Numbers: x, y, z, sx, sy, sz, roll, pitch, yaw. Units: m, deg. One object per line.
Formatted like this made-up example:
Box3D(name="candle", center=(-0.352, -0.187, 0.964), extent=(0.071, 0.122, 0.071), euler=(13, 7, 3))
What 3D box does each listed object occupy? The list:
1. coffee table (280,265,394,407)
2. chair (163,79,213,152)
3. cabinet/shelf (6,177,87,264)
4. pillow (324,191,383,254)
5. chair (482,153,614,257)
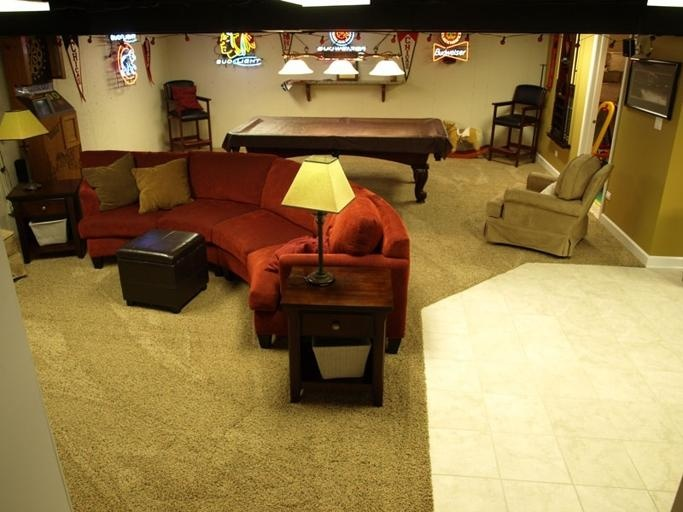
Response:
Box3D(name="coffee table", center=(-0.028, 0.441, 3.742), extent=(0.829, 0.964, 0.951), euler=(1, 29, 1))
Box3D(name="chair", center=(-2.744, -2.483, 9.250), extent=(0.835, 1.267, 1.229), euler=(-6, 24, -13))
Box3D(name="cabinet/shelf", center=(-2.954, -0.353, 5.138), extent=(0.641, 0.764, 0.552), euler=(-7, 32, -11))
Box3D(name="pillow", center=(0.095, -0.371, 3.784), extent=(0.372, 0.315, 0.932), euler=(2, 19, 2))
Box3D(name="chair", center=(2.269, -0.654, 5.785), extent=(1.270, 1.157, 1.036), euler=(18, 40, 28))
